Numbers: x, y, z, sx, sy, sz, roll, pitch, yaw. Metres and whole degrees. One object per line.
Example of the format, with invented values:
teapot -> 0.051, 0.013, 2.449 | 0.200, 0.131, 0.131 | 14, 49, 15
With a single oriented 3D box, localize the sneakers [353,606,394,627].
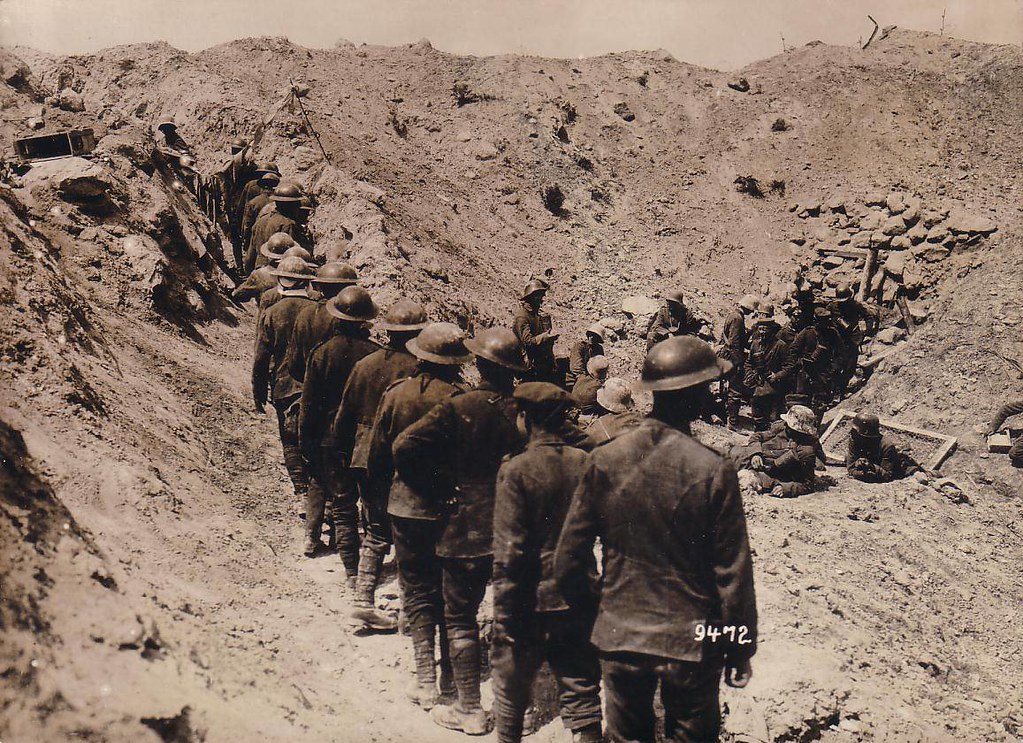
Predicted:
sneakers -> -1.818, 3.326, 20.757 | 0.425, 0.167, 0.291 | 14, -3, -8

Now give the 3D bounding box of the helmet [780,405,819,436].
helmet -> 4.283, 0.734, 23.157 | 0.488, 0.365, 0.375 | 5, -2, 10
